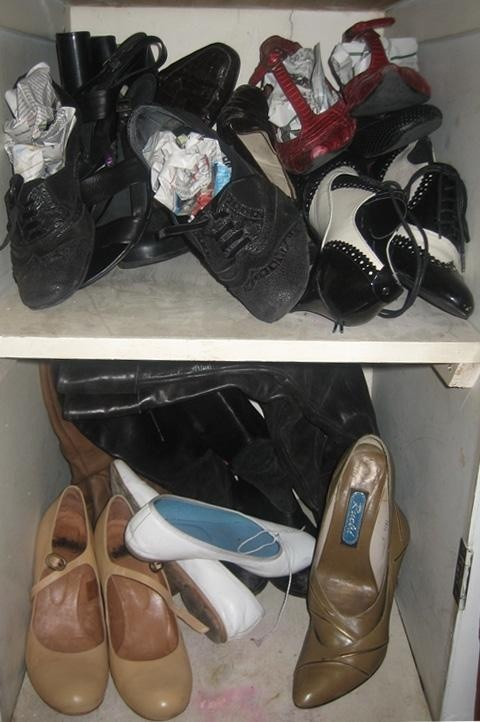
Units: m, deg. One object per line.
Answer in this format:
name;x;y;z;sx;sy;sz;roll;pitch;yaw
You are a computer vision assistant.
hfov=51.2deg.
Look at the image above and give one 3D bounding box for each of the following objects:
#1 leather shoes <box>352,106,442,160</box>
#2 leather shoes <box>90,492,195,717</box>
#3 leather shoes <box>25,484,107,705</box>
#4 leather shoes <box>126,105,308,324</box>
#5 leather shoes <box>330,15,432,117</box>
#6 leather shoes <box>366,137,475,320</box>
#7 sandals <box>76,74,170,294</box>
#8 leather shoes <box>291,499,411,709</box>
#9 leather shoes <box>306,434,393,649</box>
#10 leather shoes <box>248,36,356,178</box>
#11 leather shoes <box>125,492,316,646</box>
leather shoes;0.190;-0.284;0.619;0.043;0.043;0.109;-26;15;-27
leather shoes;-0.139;0.359;0.721;0.087;0.080;0.304;-7;56;-17
leather shoes;-0.244;0.331;0.720;0.085;0.102;0.274;10;48;-30
leather shoes;-0.002;-0.143;0.613;0.141;0.306;0.090;-37;-1;5
leather shoes;0.157;-0.369;0.635;0.060;0.097;0.215;-16;17;4
leather shoes;0.198;-0.175;0.582;0.076;0.096;0.249;-6;72;-10
sandals;-0.138;-0.199;0.599;0.088;0.265;0.069;11;21;16
leather shoes;0.165;0.320;0.709;0.093;0.076;0.296;5;63;41
leather shoes;0.163;0.248;0.719;0.092;0.315;0.075;8;0;26
leather shoes;0.080;-0.338;0.702;0.106;0.087;0.225;-31;60;22
leather shoes;-0.018;0.302;0.705;0.304;0.126;0.126;12;36;-22
